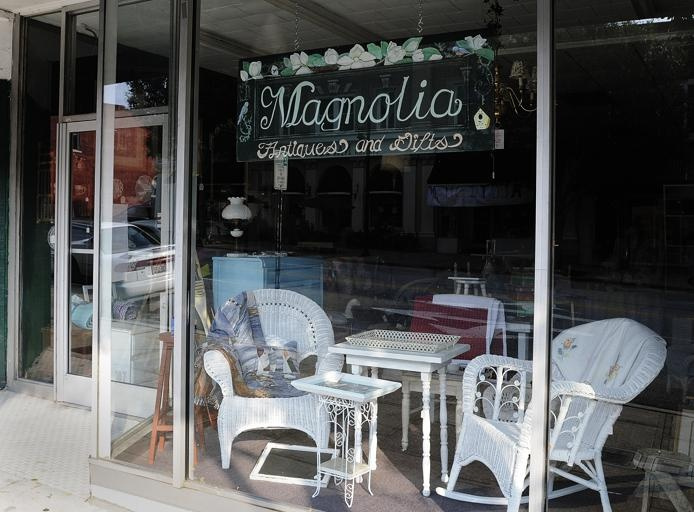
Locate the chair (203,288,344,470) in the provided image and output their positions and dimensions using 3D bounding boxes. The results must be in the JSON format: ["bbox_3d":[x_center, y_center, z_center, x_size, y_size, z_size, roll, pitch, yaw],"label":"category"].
[{"bbox_3d":[-0.426,0.809,4.065,1.000,1.261,0.961,0,-8,-3],"label":"chair"}]

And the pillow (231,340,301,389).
[{"bbox_3d":[-0.547,0.753,3.903,0.290,0.376,0.333,3,-12,-28],"label":"pillow"}]

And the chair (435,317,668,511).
[{"bbox_3d":[1.084,0.842,3.313,1.105,1.132,0.900,2,-3,-18],"label":"chair"}]

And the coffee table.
[{"bbox_3d":[0.340,1.023,3.436,0.803,0.789,0.376,-2,-3,30],"label":"coffee table"}]

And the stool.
[{"bbox_3d":[-1.047,0.914,3.592,0.459,0.830,0.200,5,4,18],"label":"stool"}]

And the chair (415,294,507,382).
[{"bbox_3d":[0.703,0.512,3.424,0.207,0.429,0.555,0,2,-45],"label":"chair"}]
